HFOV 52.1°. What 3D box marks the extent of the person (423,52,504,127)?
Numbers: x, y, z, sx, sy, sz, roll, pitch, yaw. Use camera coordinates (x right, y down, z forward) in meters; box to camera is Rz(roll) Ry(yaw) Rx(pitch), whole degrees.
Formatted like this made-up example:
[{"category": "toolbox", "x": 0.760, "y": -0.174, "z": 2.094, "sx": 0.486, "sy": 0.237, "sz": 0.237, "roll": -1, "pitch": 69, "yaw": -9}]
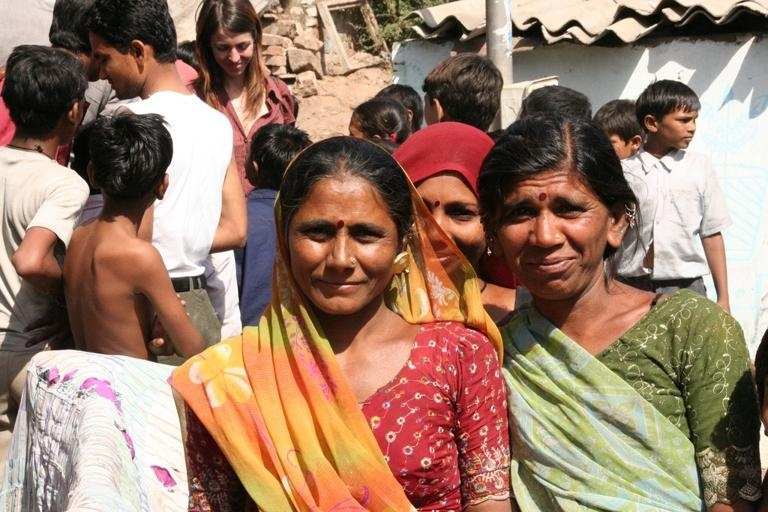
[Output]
[{"category": "person", "x": 0.557, "y": -1.153, "z": 5.641, "sx": 0.539, "sy": 0.822, "sz": 0.620, "roll": 3, "pitch": 12, "yaw": 1}]
